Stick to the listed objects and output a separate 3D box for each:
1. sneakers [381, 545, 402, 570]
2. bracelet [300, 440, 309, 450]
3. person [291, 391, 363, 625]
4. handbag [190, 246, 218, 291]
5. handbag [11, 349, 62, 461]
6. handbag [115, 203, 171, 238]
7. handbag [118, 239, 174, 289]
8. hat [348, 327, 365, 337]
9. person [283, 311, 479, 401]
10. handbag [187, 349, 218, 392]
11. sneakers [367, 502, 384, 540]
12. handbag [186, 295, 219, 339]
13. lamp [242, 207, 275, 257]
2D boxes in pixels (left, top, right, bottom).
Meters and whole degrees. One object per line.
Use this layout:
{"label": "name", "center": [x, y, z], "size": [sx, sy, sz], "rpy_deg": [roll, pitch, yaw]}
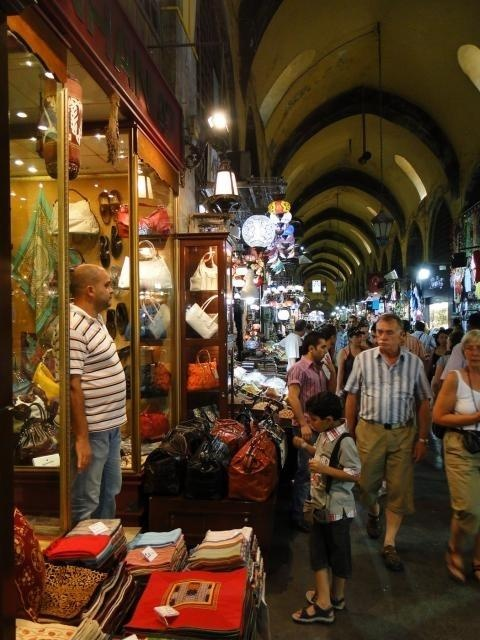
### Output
{"label": "sneakers", "center": [1.046, 1.641, 3.457], "size": [0.100, 0.122, 0.227], "rpy_deg": [0, 0, -5]}
{"label": "bracelet", "center": [0.399, 0.768, 3.106], "size": [0.022, 0.065, 0.045], "rpy_deg": [-21, 42, -29]}
{"label": "person", "center": [0.493, 1.043, 2.883], "size": [0.370, 1.274, 0.462], "rpy_deg": [0, 0, 10]}
{"label": "handbag", "center": [-0.372, -0.541, 5.287], "size": [0.366, 0.561, 0.217], "rpy_deg": [2, -7, -2]}
{"label": "handbag", "center": [-0.914, 0.395, 2.217], "size": [0.141, 0.385, 0.218], "rpy_deg": [0, 0, 28]}
{"label": "handbag", "center": [-0.817, -0.847, 4.302], "size": [0.428, 0.287, 0.276], "rpy_deg": [-2, 10, -18]}
{"label": "handbag", "center": [-0.761, -0.422, 4.192], "size": [0.518, 0.524, 0.323], "rpy_deg": [1, 0, -1]}
{"label": "hat", "center": [1.481, 0.157, 6.470], "size": [0.183, 0.173, 0.196], "rpy_deg": [-8, 6, -20]}
{"label": "person", "center": [1.603, 0.365, 5.566], "size": [1.286, 0.527, 1.345], "rpy_deg": [-2, -4, 40]}
{"label": "handbag", "center": [-0.387, 0.534, 5.172], "size": [0.373, 0.464, 0.111], "rpy_deg": [1, -10, -27]}
{"label": "sneakers", "center": [1.091, 1.635, 4.041], "size": [0.090, 0.300, 0.119], "rpy_deg": [-18, -46, 35]}
{"label": "handbag", "center": [-0.393, -0.013, 5.201], "size": [0.247, 0.348, 0.136], "rpy_deg": [40, -10, 1]}
{"label": "lamp", "center": [0.342, -1.545, 8.695], "size": [0.521, 0.616, 0.602], "rpy_deg": [2, 5, 11]}
